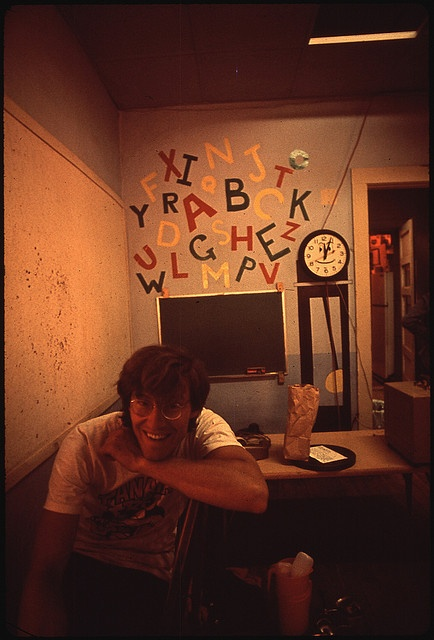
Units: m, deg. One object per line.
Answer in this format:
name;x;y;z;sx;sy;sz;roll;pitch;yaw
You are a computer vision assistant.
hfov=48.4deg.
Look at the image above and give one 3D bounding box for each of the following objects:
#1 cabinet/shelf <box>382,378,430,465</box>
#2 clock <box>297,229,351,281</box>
cabinet/shelf;0.531;0.282;1.350;0.093;0.222;0.203;-1;-9;4
clock;0.267;-0.161;1.193;0.129;0.125;0.057;-2;2;-23
